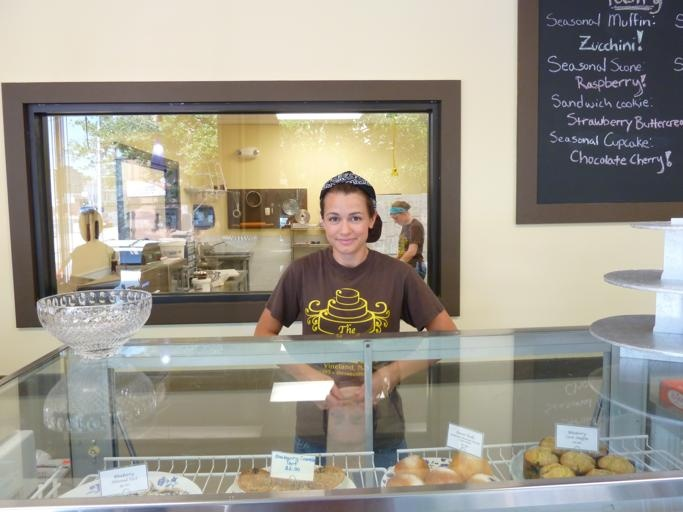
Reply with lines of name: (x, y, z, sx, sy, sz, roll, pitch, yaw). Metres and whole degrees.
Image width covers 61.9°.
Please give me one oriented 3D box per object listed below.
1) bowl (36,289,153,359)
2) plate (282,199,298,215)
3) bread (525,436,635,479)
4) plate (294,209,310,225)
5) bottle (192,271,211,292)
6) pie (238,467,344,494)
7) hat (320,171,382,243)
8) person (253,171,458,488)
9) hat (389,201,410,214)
bowl: (-0.712, 0.198, 1.714, 0.333, 0.183, 0.333, -10, -4, -1)
plate: (-0.281, -0.272, 3.185, 0.080, 0.086, 0.083, 0, 5, -40)
bread: (0.557, 0.493, 1.369, 0.145, 0.048, 0.111, -1, -6, -1)
plate: (-0.213, -0.213, 3.101, 0.075, 0.091, 0.081, 2, 7, 0)
bottle: (-0.767, 0.142, 3.159, 0.099, 0.095, 0.099, 2, 2, 12)
pie: (-0.114, 0.542, 1.378, 0.120, 0.015, 0.107, 1, -1, -30)
hat: (0.035, -0.179, 2.145, 0.232, 0.267, 0.209, 0, 10, -2)
person: (0.085, 0.106, 1.833, 0.727, 0.712, 0.814, -1, 10, -9)
hat: (0.316, -0.261, 3.079, 0.086, 0.067, 0.062, 4, -1, 0)
